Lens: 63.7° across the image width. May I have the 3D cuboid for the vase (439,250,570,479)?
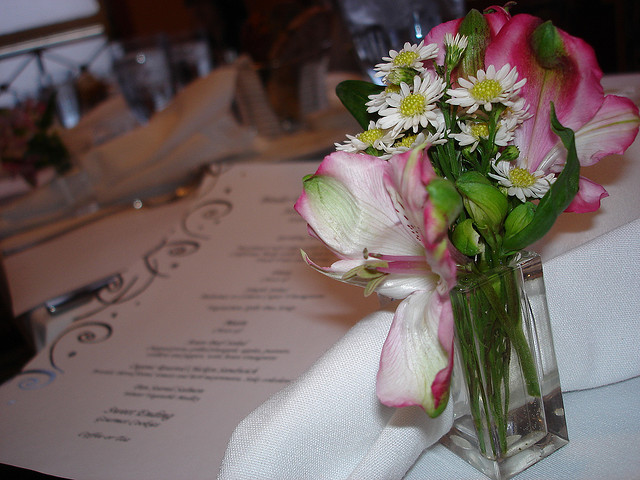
[{"bbox_3d":[0.191,0.122,0.514,0.154,0.237,0.069,-23,28,-17],"label":"vase"}]

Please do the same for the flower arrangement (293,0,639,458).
[{"bbox_3d":[0.155,0.000,0.489,0.321,0.382,0.179,-24,29,-18],"label":"flower arrangement"}]
